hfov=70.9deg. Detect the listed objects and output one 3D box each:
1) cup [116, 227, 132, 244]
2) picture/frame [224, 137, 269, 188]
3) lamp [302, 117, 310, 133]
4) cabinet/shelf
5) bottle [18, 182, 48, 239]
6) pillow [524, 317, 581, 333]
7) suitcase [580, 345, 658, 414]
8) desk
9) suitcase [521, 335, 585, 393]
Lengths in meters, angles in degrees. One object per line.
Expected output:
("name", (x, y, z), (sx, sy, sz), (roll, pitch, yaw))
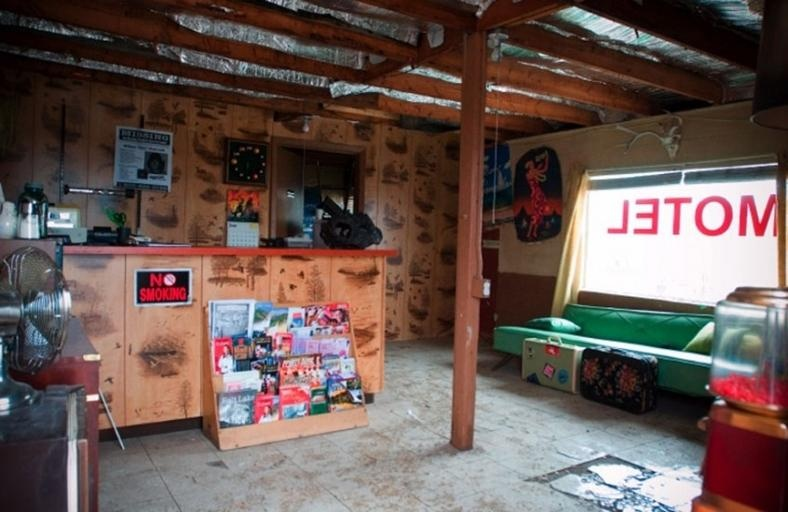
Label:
("cup", (-2.407, -0.187, 4.992), (0.154, 0.164, 0.150), (1, 5, 0))
("picture/frame", (-1.968, -1.239, 7.270), (0.718, 0.696, 0.097), (0, 3, -27))
("lamp", (-1.217, -1.812, 7.631), (0.073, 0.204, 0.160), (3, 8, 10))
("cabinet/shelf", (-1.021, 1.102, 4.914), (1.303, 1.144, 0.526), (0, -3, -28))
("bottle", (-2.864, -0.357, 4.402), (0.327, 0.417, 0.319), (5, 5, 0))
("pillow", (1.998, 0.860, 6.892), (0.478, 0.150, 0.274), (10, 8, 1))
("suitcase", (2.237, 1.291, 5.914), (0.698, 0.556, 0.395), (12, -12, 8))
("desk", (-1.815, 0.866, 2.938), (0.371, 1.000, 1.075), (1, 9, -25))
("suitcase", (1.800, 1.239, 6.238), (0.183, 0.463, 0.544), (-3, 8, -44))
